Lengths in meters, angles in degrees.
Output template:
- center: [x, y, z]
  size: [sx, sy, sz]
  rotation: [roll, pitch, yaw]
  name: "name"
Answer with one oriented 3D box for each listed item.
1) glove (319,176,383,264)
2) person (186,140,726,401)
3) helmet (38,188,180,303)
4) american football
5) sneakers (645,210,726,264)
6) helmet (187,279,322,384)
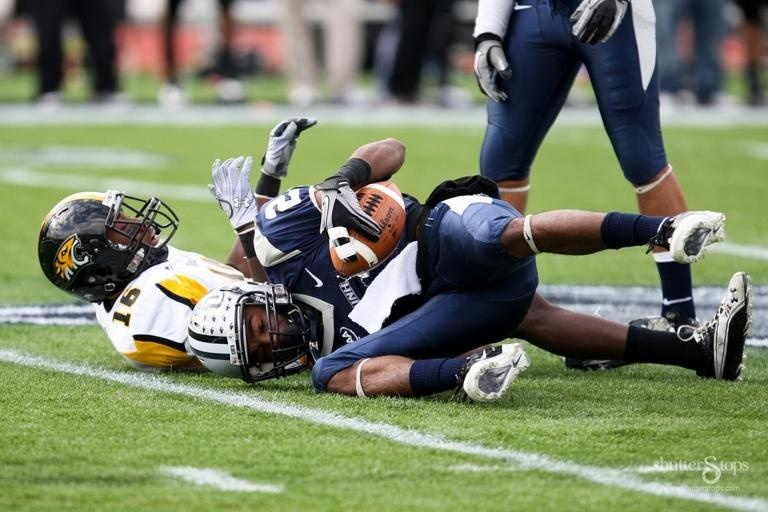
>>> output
- center: [-0.168, -0.181, 4.082]
  size: [0.255, 0.341, 0.166]
  rotation: [-23, -23, 19]
  name: "glove"
- center: [0.264, 0.082, 4.239]
  size: [2.346, 1.092, 0.720]
  rotation: [3, 14, 14]
  name: "person"
- center: [-1.288, -0.131, 4.617]
  size: [0.666, 0.441, 0.486]
  rotation: [-14, 10, 1]
  name: "helmet"
- center: [-0.103, -0.143, 4.209]
  size: [0.295, 0.461, 0.282]
  rotation: [-20, -30, -2]
  name: "american football"
- center: [1.235, -0.104, 3.806]
  size: [0.273, 0.178, 0.118]
  rotation: [7, 18, -14]
  name: "sneakers"
- center: [-0.607, 0.344, 4.227]
  size: [0.545, 0.425, 0.405]
  rotation: [0, -4, 13]
  name: "helmet"
